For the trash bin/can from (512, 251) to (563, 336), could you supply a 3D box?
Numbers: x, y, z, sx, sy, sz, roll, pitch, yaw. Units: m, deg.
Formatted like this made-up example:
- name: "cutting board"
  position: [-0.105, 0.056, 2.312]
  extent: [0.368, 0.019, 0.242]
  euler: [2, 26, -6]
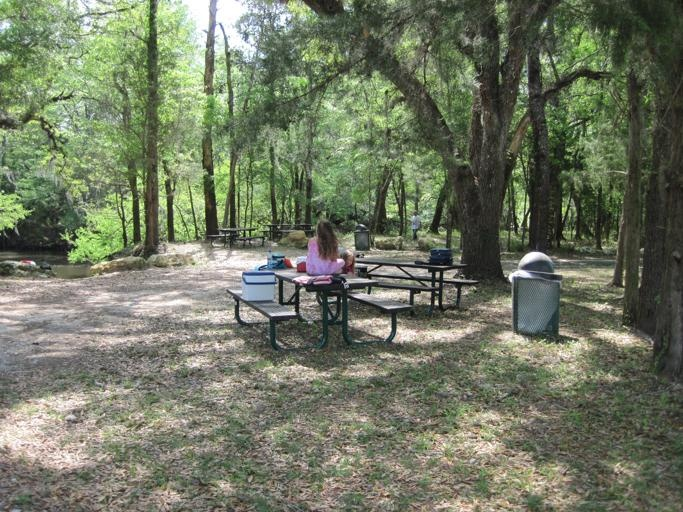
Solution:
- name: "trash bin/can"
  position: [3.149, 0.623, 10.063]
  extent: [0.788, 1.340, 0.523]
  euler: [0, 5, 15]

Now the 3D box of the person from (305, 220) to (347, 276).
- name: "person"
  position: [-0.236, -0.085, 10.151]
  extent: [0.786, 0.910, 0.664]
  euler: [-3, -7, 24]

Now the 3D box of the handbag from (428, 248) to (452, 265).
- name: "handbag"
  position: [1.823, 0.013, 11.463]
  extent: [0.322, 0.226, 0.328]
  euler: [1, 3, 21]

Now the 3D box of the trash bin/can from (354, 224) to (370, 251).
- name: "trash bin/can"
  position: [0.731, -0.637, 22.425]
  extent: [0.481, 1.013, 0.960]
  euler: [-2, 5, -2]

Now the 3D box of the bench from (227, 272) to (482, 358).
- name: "bench"
  position: [-0.302, 0.803, 10.176]
  extent: [2.775, 1.098, 2.685]
  euler: [-2, 4, -5]

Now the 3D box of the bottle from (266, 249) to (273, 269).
- name: "bottle"
  position: [-1.307, 0.086, 11.211]
  extent: [0.075, 0.276, 0.078]
  euler: [-1, 5, 0]
